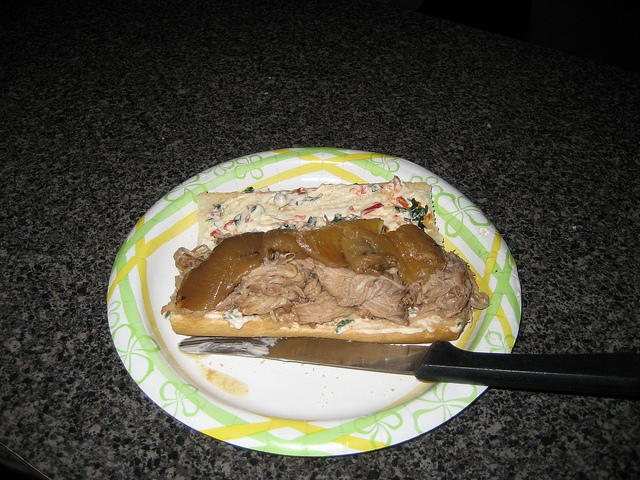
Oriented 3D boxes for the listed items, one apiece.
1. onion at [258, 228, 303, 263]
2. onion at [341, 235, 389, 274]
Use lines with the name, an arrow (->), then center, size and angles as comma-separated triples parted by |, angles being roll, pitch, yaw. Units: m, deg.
onion -> -0.174, 0.020, 2.428 | 0.179, 0.044, 0.148 | -7, 52, -4
onion -> 0.177, 0.067, 2.286 | 0.141, 0.047, 0.185 | -34, 67, -9
